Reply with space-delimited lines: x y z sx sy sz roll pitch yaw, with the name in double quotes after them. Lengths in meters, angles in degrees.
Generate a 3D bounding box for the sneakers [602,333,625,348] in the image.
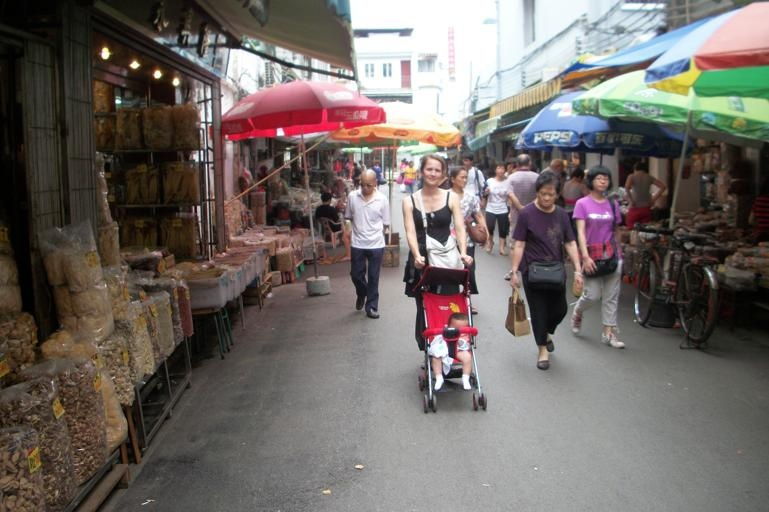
3.171 1.154 7.645 0.138 0.161 0.348 -11 13 -36 "sneakers"

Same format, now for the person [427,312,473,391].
0.737 0.997 6.119 0.487 0.799 0.919 2 6 12 "person"

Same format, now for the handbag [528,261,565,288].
2.000 0.210 6.772 0.488 0.393 0.286 -1 -6 11 "handbag"

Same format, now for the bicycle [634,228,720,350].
4.294 0.325 8.086 0.882 1.294 1.974 1 6 -5 "bicycle"

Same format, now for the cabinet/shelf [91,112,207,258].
-3.461 -1.072 8.302 1.506 2.280 1.246 -3 11 -8 "cabinet/shelf"

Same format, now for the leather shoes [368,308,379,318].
-0.190 0.961 9.254 0.092 0.112 0.249 -2 -4 -26 "leather shoes"

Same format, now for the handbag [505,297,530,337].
1.685 0.773 6.942 0.270 0.709 0.579 -1 3 1 "handbag"

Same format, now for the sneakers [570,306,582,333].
2.875 0.962 8.134 0.127 0.436 0.178 0 15 2 "sneakers"

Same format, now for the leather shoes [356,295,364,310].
-0.427 0.823 9.682 0.091 0.292 0.119 1 0 19 "leather shoes"

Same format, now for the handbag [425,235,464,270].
0.690 -0.044 6.463 0.302 0.407 0.227 -5 -19 -14 "handbag"
